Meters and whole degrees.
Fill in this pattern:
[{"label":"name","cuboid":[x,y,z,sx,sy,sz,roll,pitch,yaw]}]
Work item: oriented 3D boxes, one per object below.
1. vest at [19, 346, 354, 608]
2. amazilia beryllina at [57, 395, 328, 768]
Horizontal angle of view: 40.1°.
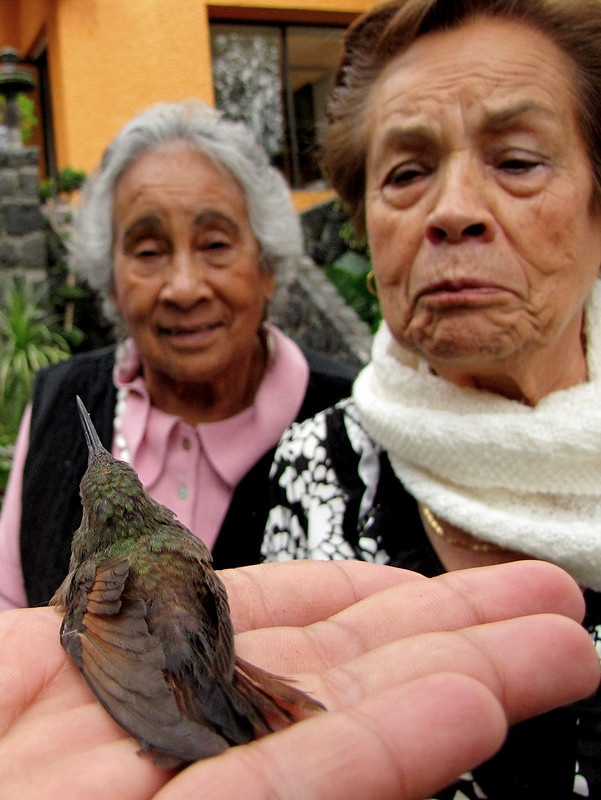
[{"label":"vest","cuboid":[-0.306,0.215,2.238,0.942,0.712,0.447,1,-15,10]},{"label":"amazilia beryllina","cuboid":[-0.209,0.309,1.499,0.306,0.365,0.623,-24,49,-25]}]
